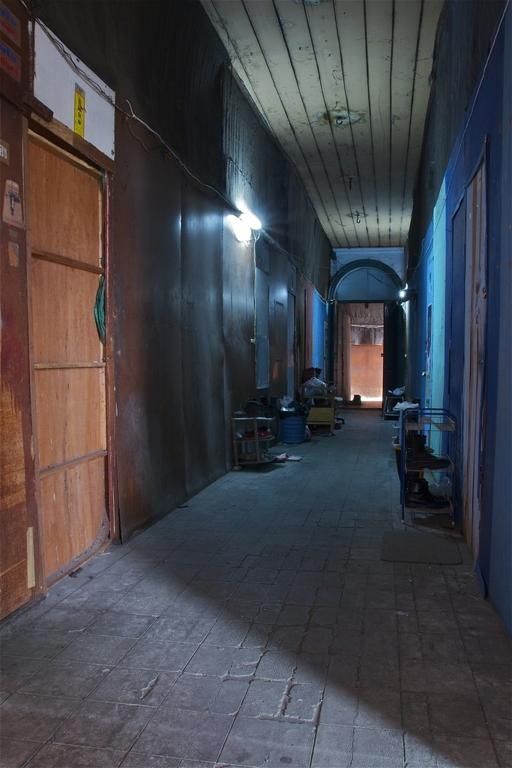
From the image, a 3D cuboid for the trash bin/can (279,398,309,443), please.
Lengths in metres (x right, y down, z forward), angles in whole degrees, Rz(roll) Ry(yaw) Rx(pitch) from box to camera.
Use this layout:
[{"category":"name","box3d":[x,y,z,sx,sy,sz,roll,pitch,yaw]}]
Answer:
[{"category":"trash bin/can","box3d":[0.630,0.694,8.742,0.518,1.025,0.586,0,-9,-5]}]

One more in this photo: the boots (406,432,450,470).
[{"category":"boots","box3d":[1.362,0.567,4.007,0.213,0.126,0.323,0,2,-23]}]

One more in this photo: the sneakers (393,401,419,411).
[{"category":"sneakers","box3d":[1.777,0.260,5.825,0.202,0.126,0.308,-3,-5,-1]}]

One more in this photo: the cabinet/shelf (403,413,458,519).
[{"category":"cabinet/shelf","box3d":[1.477,0.713,4.190,0.217,0.716,0.695,0,2,10]}]

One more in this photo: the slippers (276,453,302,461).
[{"category":"slippers","box3d":[0.466,1.059,6.989,0.368,0.164,0.156,5,-8,-17]}]
